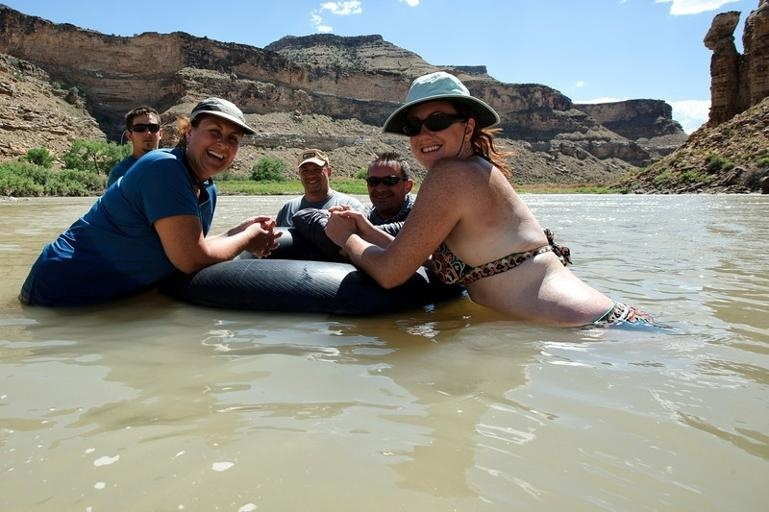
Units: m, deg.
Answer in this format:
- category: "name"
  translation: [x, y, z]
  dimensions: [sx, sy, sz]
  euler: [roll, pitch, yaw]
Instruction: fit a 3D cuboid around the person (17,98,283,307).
- category: "person"
  translation: [-1.761, -0.405, 3.952]
  dimensions: [1.796, 1.526, 0.772]
  euler: [-2, 10, -15]
